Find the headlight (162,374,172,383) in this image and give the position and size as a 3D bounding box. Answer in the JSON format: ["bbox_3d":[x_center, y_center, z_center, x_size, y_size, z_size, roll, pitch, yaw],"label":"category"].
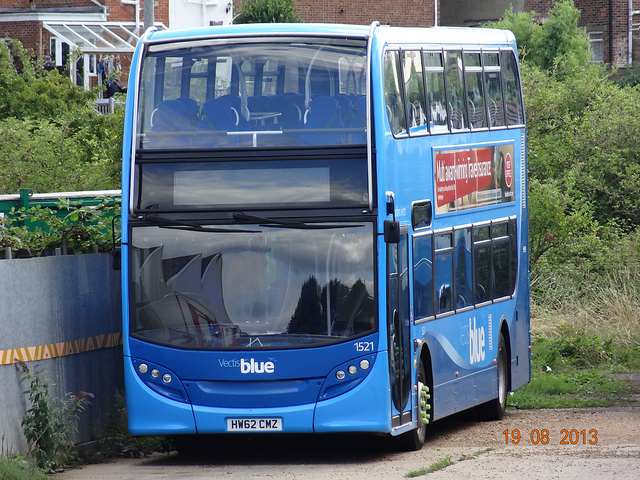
[{"bbox_3d":[-1.839,1.645,10.809,0.086,0.095,0.026,32,3,2],"label":"headlight"}]

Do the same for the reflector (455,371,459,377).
[{"bbox_3d":[2.004,1.929,13.063,0.025,0.065,0.025,1,6,-36],"label":"reflector"}]

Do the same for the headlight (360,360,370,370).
[{"bbox_3d":[0.535,1.465,10.669,0.091,0.114,0.100,0,1,-4],"label":"headlight"}]

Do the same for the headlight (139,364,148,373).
[{"bbox_3d":[-2.133,1.533,10.841,0.079,0.100,0.088,1,-1,1],"label":"headlight"}]

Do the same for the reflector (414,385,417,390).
[{"bbox_3d":[1.231,1.873,11.509,0.038,0.057,0.043,-1,4,2],"label":"reflector"}]

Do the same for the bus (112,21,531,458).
[{"bbox_3d":[0.893,-0.167,14.208,3.040,5.404,7.769,-1,1,26],"label":"bus"}]

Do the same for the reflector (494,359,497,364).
[{"bbox_3d":[2.839,1.943,14.536,0.039,0.058,0.044,0,-2,-4],"label":"reflector"}]
